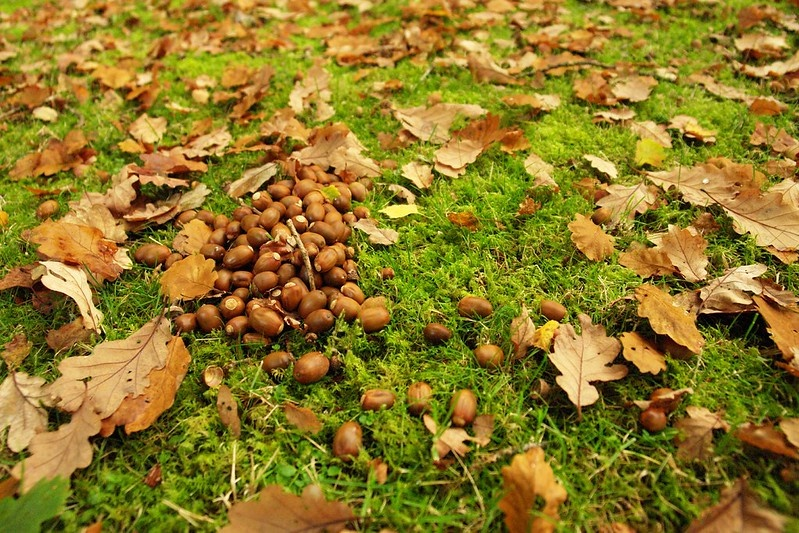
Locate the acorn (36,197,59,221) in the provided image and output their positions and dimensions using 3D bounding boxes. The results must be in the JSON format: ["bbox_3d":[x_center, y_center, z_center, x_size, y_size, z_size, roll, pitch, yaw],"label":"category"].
[{"bbox_3d":[-3.181,-0.510,5.810,0.136,0.099,0.216,31,64,28],"label":"acorn"}]

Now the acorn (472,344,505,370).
[{"bbox_3d":[0.687,0.682,4.872,0.218,0.095,0.153,-7,53,5],"label":"acorn"}]

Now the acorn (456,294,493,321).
[{"bbox_3d":[0.602,0.320,5.040,0.234,0.154,0.137,3,40,0],"label":"acorn"}]

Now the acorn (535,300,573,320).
[{"bbox_3d":[1.202,0.341,5.009,0.203,0.096,0.150,34,65,29],"label":"acorn"}]

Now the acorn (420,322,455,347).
[{"bbox_3d":[0.310,0.530,4.958,0.201,0.146,0.149,4,63,2],"label":"acorn"}]
